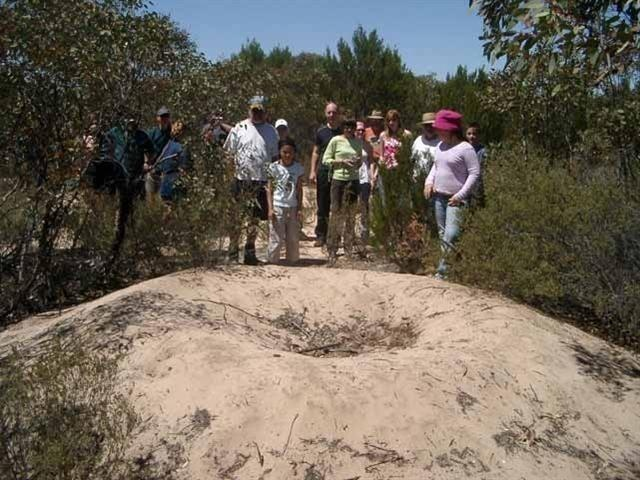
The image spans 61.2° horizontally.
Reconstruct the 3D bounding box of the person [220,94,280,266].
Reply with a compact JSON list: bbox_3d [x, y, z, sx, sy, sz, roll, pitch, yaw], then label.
[{"bbox_3d":[-0.981,-0.832,7.443,0.578,2.295,1.023,2,3,30],"label":"person"}]

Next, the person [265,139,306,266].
[{"bbox_3d":[-0.483,-0.527,7.699,0.431,1.915,0.423,-7,31,-15],"label":"person"}]

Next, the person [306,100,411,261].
[{"bbox_3d":[0.326,-1.147,9.342,0.930,2.541,1.114,0,3,-19],"label":"person"}]

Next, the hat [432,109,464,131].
[{"bbox_3d":[1.646,-1.515,6.964,0.263,0.191,0.273,17,15,-12],"label":"hat"}]

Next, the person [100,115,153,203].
[{"bbox_3d":[-2.344,-1.040,6.747,0.658,1.312,0.435,-8,48,-23],"label":"person"}]

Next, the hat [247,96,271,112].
[{"bbox_3d":[-0.852,-1.895,7.530,0.209,0.244,0.314,1,3,-8],"label":"hat"}]

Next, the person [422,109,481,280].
[{"bbox_3d":[1.764,-0.575,7.021,0.586,2.167,0.389,2,3,19],"label":"person"}]

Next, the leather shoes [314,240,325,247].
[{"bbox_3d":[0.004,0.056,9.320,0.202,0.113,0.076,7,3,44],"label":"leather shoes"}]
